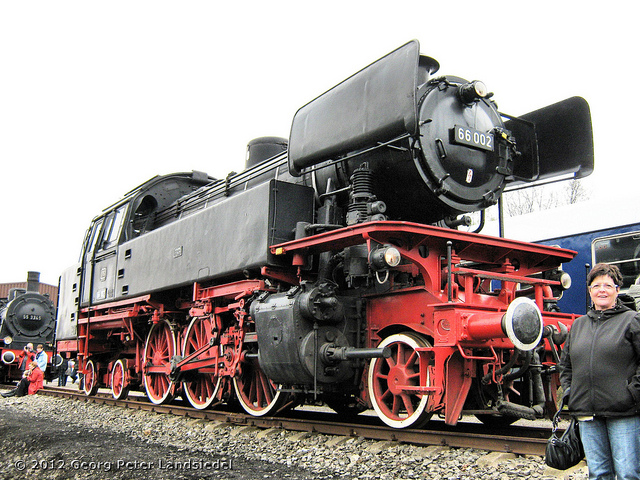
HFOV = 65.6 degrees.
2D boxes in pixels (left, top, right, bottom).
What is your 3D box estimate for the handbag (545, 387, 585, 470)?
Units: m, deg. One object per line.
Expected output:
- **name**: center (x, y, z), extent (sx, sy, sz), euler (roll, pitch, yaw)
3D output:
- **handbag**: center (1.793, 1.390, 3.693), extent (0.258, 0.620, 0.357), euler (-7, -10, 23)
